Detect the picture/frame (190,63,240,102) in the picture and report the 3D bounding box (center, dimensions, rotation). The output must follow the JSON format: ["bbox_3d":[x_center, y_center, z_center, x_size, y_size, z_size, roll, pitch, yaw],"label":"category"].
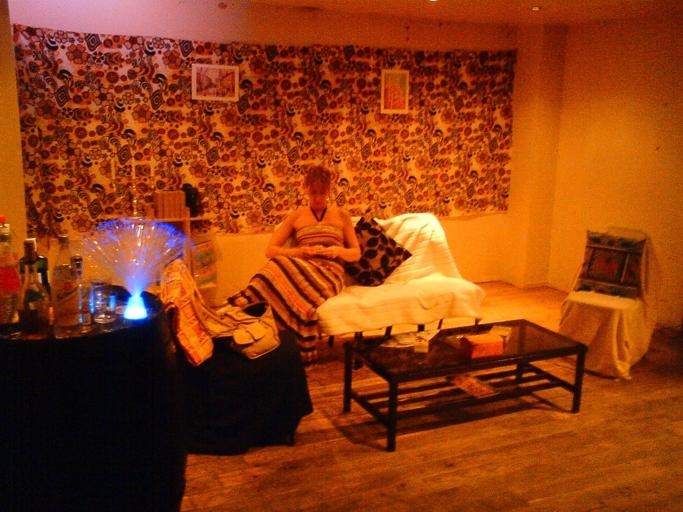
[{"bbox_3d":[-1.088,-1.504,4.644,0.018,0.307,0.472,26,29,32],"label":"picture/frame"}]

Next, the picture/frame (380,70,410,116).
[{"bbox_3d":[0.506,-1.597,5.198,0.457,0.549,0.021,-6,14,-18],"label":"picture/frame"}]

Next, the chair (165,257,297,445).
[{"bbox_3d":[-0.535,0.537,3.345,0.991,1.040,1.107,-4,14,-13],"label":"chair"}]

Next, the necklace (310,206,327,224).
[{"bbox_3d":[-0.173,-0.306,4.134,0.079,0.023,0.128,-2,54,-4],"label":"necklace"}]

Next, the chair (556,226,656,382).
[{"bbox_3d":[1.999,0.327,3.992,0.579,0.973,0.682,8,18,31],"label":"chair"}]

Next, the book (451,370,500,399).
[{"bbox_3d":[0.861,0.844,3.454,0.203,0.041,0.209,-5,15,-31],"label":"book"}]

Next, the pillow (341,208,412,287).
[{"bbox_3d":[0.267,0.006,4.280,0.516,0.534,0.158,-43,-5,-13],"label":"pillow"}]

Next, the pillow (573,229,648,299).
[{"bbox_3d":[2.052,0.073,4.264,0.499,0.517,0.518,12,2,15],"label":"pillow"}]

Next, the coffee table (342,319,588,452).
[{"bbox_3d":[0.762,0.730,3.365,1.486,0.550,0.621,-6,16,-18],"label":"coffee table"}]
